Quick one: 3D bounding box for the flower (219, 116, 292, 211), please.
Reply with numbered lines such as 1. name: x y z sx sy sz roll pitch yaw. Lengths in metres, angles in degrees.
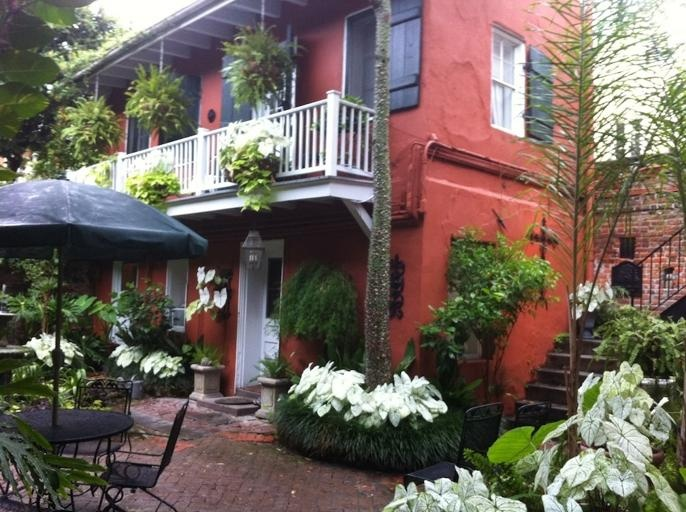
1. flower: -1.300 -1.364 8.638 1.151 1.380 0.525 3 0 39
